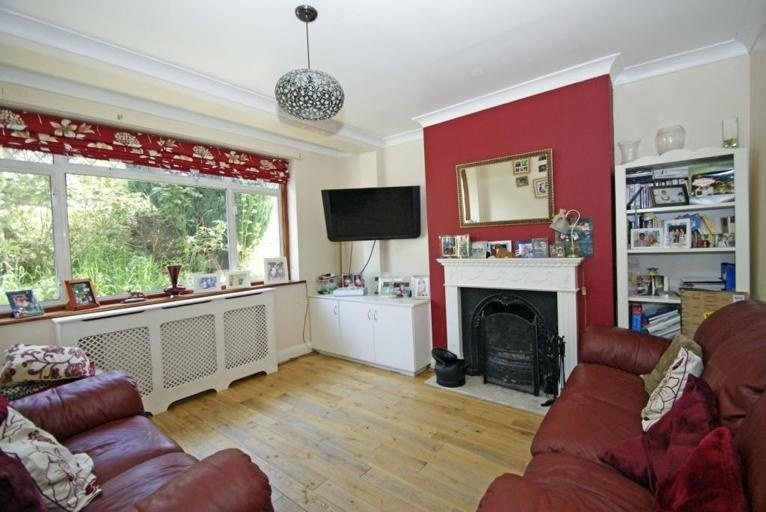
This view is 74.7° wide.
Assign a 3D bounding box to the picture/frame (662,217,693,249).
[{"bbox_3d":[2.609,-0.199,4.429,0.251,0.336,0.035,-8,-7,41],"label":"picture/frame"}]

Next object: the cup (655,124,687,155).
[{"bbox_3d":[2.541,-1.029,4.498,0.285,0.281,0.257,1,-5,26],"label":"cup"}]

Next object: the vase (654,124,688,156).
[{"bbox_3d":[2.536,-1.010,4.537,0.298,0.292,0.262,1,-3,7],"label":"vase"}]

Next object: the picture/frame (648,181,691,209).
[{"bbox_3d":[2.554,-0.537,4.449,0.256,0.213,0.019,-4,-5,27],"label":"picture/frame"}]

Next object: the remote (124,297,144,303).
[{"bbox_3d":[-2.429,0.424,4.918,0.180,0.045,0.078,-3,5,-27],"label":"remote"}]

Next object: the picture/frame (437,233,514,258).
[{"bbox_3d":[0.945,-0.103,5.272,0.890,0.233,0.208,2,5,38],"label":"picture/frame"}]

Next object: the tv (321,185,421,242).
[{"bbox_3d":[-0.122,-0.493,5.941,1.155,0.623,0.102,-1,11,14],"label":"tv"}]

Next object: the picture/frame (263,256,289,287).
[{"bbox_3d":[-1.289,0.186,6.023,0.027,0.374,0.385,-2,-1,40],"label":"picture/frame"}]

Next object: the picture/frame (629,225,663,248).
[{"bbox_3d":[2.383,-0.170,4.524,0.213,0.173,0.018,-1,-3,32],"label":"picture/frame"}]

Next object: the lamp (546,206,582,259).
[{"bbox_3d":[1.729,-0.223,4.771,0.267,0.443,0.232,1,5,27],"label":"lamp"}]

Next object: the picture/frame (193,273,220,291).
[{"bbox_3d":[-1.914,0.278,5.424,0.196,0.159,0.028,-2,2,-44],"label":"picture/frame"}]

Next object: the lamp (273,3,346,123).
[{"bbox_3d":[-0.619,-1.498,3.970,0.487,0.826,0.517,-4,5,-33],"label":"lamp"}]

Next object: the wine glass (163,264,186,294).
[{"bbox_3d":[-2.179,0.240,5.270,0.181,0.303,0.300,-3,5,-23],"label":"wine glass"}]

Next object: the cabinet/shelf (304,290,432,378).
[{"bbox_3d":[-0.185,0.862,6.013,1.627,0.778,0.435,2,7,39],"label":"cabinet/shelf"}]

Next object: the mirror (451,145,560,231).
[{"bbox_3d":[1.289,-0.694,5.079,0.963,0.672,0.021,1,7,35],"label":"mirror"}]
